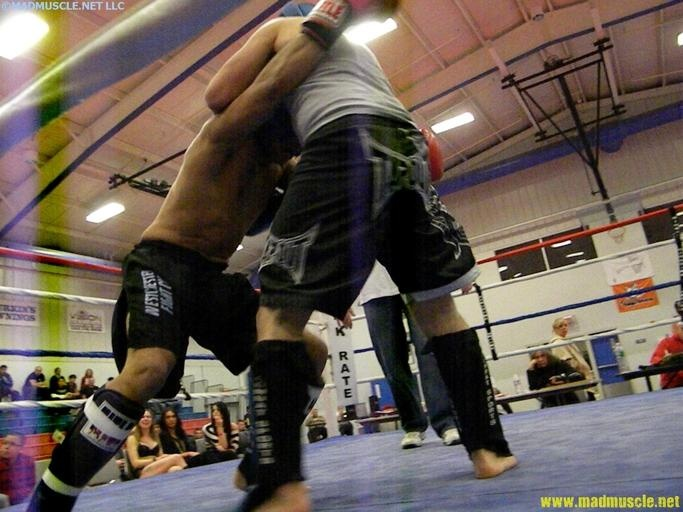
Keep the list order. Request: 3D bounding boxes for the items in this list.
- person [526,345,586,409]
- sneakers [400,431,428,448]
[{"bbox_3d":[2.302,1.336,5.014,0.813,0.661,0.286,-6,-6,39],"label":"person"},{"bbox_3d":[0.333,0.889,2.268,0.065,0.058,0.162,-4,-19,15],"label":"sneakers"}]
